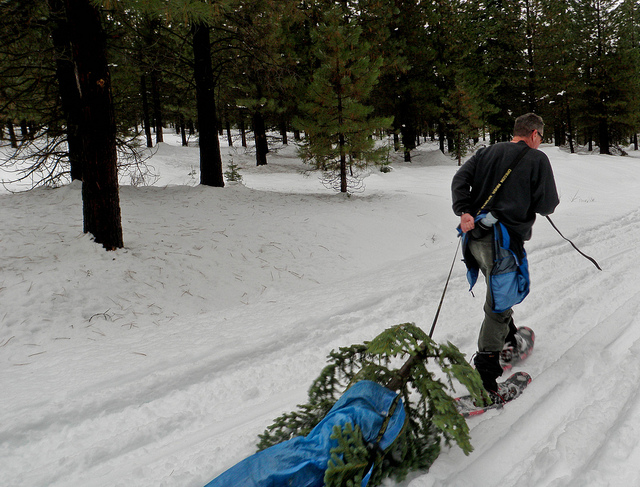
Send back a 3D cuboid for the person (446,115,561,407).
[{"bbox_3d":[2.093,0.111,5.092,0.969,3.043,0.984,-5,12,-14],"label":"person"}]
